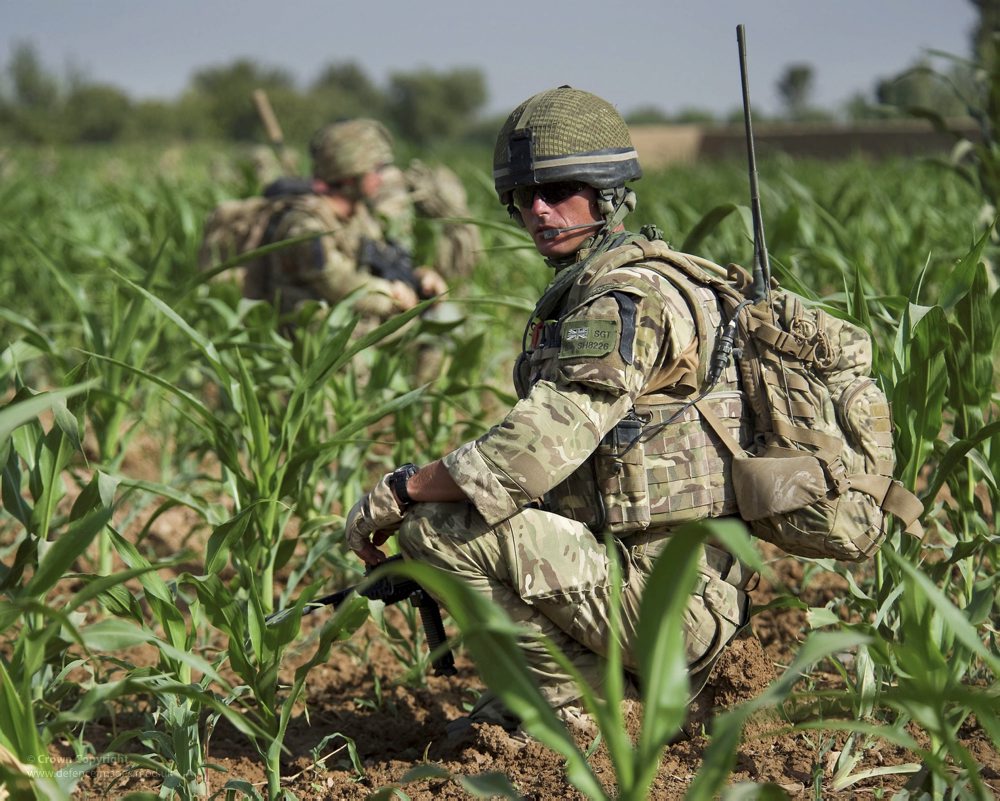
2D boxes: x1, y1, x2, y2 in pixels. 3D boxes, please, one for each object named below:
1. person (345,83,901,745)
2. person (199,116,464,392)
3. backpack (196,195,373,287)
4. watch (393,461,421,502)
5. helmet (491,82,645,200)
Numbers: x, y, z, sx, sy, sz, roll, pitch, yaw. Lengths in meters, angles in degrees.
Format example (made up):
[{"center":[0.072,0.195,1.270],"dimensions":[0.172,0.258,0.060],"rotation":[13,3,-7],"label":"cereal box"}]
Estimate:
[{"center":[0.319,0.093,3.332],"dimensions":[1.214,1.616,0.837],"rotation":[6,7,19],"label":"person"},{"center":[-0.612,-0.439,4.489],"dimensions":[0.847,1.087,0.693],"rotation":[12,23,6],"label":"person"},{"center":[-0.757,-0.664,4.829],"dimensions":[0.515,0.231,0.389],"rotation":[-2,-2,38],"label":"backpack"},{"center":[-0.231,0.195,3.172],"dimensions":[0.051,0.096,0.079],"rotation":[1,-3,31],"label":"watch"},{"center":[0.164,-0.645,3.405],"dimensions":[0.381,0.321,0.400],"rotation":[-4,4,39],"label":"helmet"}]
